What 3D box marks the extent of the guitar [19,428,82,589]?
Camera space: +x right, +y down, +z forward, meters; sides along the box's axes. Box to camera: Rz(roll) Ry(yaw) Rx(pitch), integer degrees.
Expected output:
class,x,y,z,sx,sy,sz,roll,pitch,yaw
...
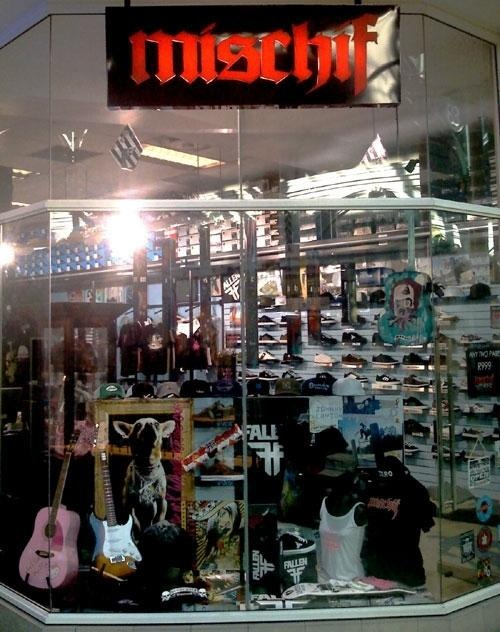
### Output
class,x,y,z,sx,sy,sz,roll,pitch,yaw
guitar,-1.227,1.162,3.931,0.482,0.603,0.120,-6,-2,31

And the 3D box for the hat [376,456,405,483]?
class,x,y,z,sx,sy,sz,roll,pitch,yaw
hat,0.821,0.889,3.903,0.117,0.141,0.158,-1,15,3

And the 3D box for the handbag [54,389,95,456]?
class,x,y,z,sx,sy,sz,roll,pitch,yaw
handbag,-1.036,0.588,3.830,0.215,0.412,0.096,-3,-4,12

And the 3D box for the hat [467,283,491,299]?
class,x,y,z,sx,sy,sz,roll,pitch,yaw
hat,1.427,-0.153,4.100,0.204,0.113,0.038,-4,-2,-40

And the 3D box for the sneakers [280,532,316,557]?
class,x,y,z,sx,sy,sz,roll,pitch,yaw
sneakers,0.264,1.321,3.795,0.217,0.095,0.089,-1,-1,-2

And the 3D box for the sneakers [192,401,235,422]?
class,x,y,z,sx,sy,sz,roll,pitch,yaw
sneakers,-0.210,0.566,3.911,0.291,0.127,0.099,3,-7,0
